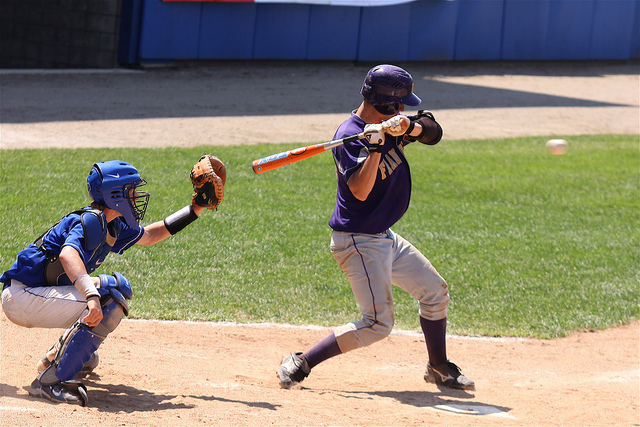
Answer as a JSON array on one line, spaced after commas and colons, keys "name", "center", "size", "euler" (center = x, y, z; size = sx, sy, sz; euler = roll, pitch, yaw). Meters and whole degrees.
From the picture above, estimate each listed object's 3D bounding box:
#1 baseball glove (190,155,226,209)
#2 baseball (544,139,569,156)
[{"name": "baseball glove", "center": [-1.593, -0.432, 13.807], "size": [0.554, 0.678, 0.310], "euler": [6, -1, 32]}, {"name": "baseball", "center": [3.458, -0.911, 14.494], "size": [0.296, 0.149, 0.275], "euler": [-9, 47, -5]}]
